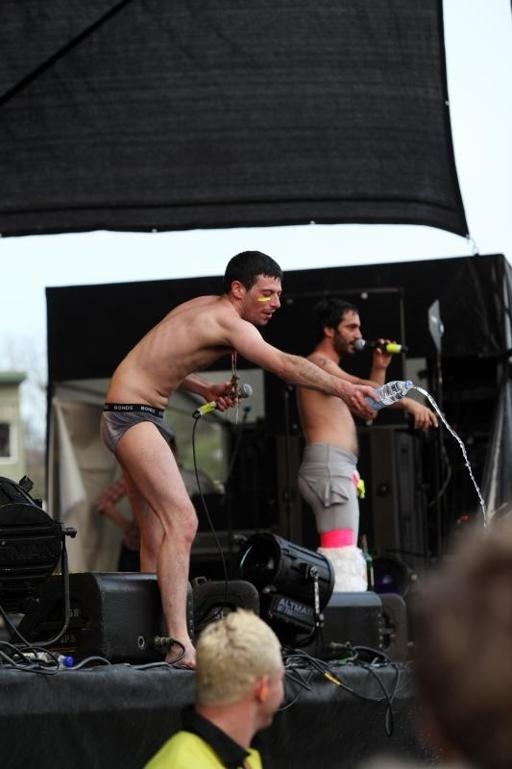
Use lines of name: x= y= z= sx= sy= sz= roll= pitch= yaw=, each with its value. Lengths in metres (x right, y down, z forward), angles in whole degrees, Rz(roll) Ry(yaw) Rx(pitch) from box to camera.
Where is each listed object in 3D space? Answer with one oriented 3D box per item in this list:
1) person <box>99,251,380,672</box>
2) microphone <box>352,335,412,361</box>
person: x=0.072 y=0.158 z=4.565 sx=1.434 sy=1.786 sz=1.151 roll=4 pitch=-5 yaw=-10
microphone: x=0.500 y=-0.157 z=4.607 sx=0.105 sy=0.086 sz=0.355 roll=1 pitch=5 yaw=-33
